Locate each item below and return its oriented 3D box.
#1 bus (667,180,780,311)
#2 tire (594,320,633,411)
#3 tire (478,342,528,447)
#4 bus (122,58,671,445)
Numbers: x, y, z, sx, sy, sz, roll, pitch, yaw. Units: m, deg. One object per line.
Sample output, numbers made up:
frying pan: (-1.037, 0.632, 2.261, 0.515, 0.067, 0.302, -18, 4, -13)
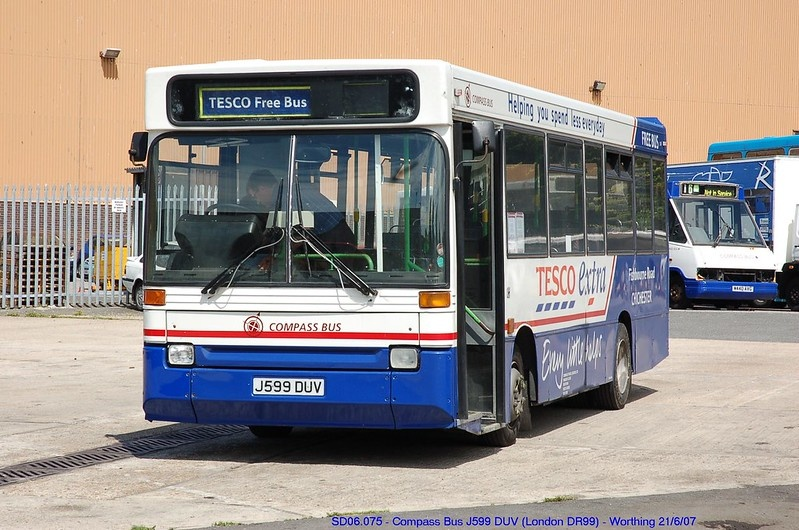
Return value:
bus: (8.571, -0.354, 29.122, 2.637, 3.981, 5.619, 3, -6, -13)
tire: (3.028, 1.474, 14.005, 0.386, 1.390, 1.298, -1, 11, 27)
tire: (1.149, 1.436, 10.981, 0.529, 1.355, 1.124, -2, -4, 20)
bus: (0.519, -0.074, 11.658, 6.604, 4.479, 2.807, -1, -1, -43)
